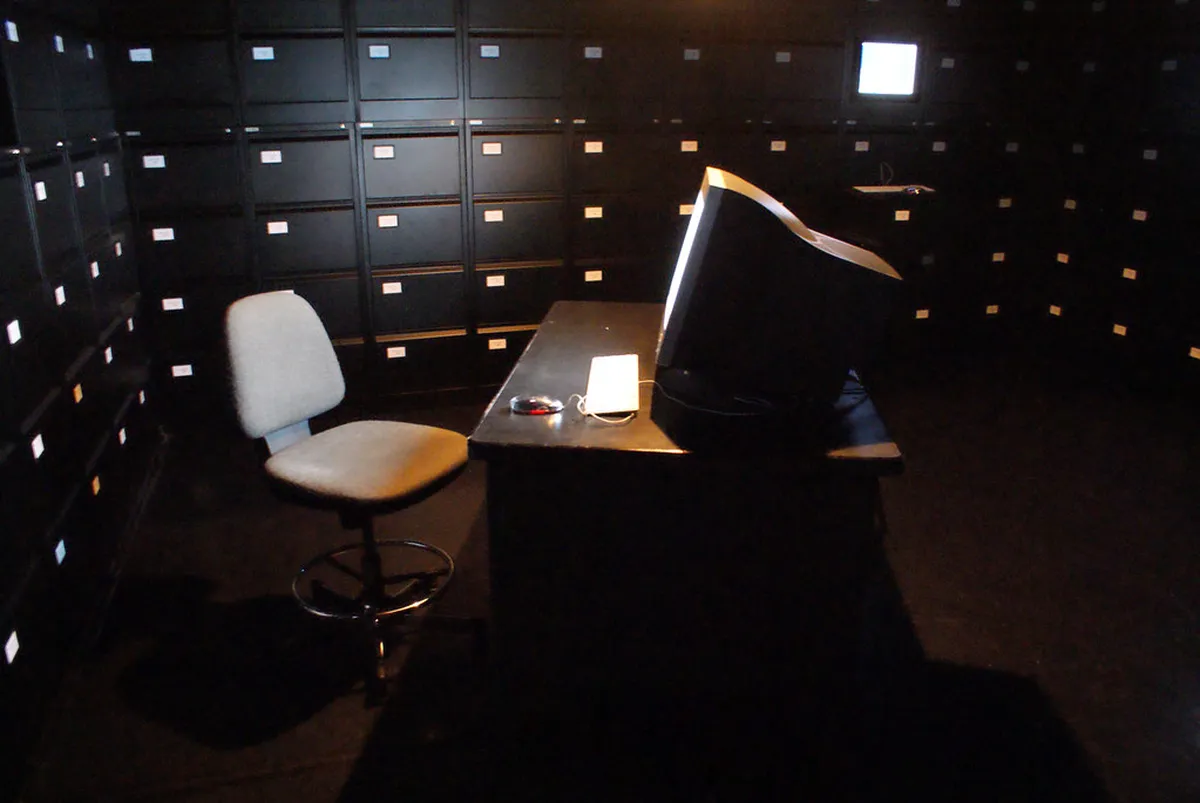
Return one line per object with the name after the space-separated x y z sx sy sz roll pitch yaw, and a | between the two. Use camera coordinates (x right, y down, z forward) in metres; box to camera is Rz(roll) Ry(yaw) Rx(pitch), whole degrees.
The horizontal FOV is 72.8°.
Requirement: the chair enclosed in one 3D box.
-0.970 0.275 3.220 0.827 1.388 0.749 7 17 23 | chair

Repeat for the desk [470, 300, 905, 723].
0.256 0.336 3.026 1.144 0.856 1.557 0 25 -1 | desk

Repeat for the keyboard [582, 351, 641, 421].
0.046 -0.055 2.875 0.167 0.092 0.400 0 27 2 | keyboard

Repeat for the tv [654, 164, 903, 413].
0.538 -0.473 2.790 0.749 0.764 0.592 4 45 1 | tv
